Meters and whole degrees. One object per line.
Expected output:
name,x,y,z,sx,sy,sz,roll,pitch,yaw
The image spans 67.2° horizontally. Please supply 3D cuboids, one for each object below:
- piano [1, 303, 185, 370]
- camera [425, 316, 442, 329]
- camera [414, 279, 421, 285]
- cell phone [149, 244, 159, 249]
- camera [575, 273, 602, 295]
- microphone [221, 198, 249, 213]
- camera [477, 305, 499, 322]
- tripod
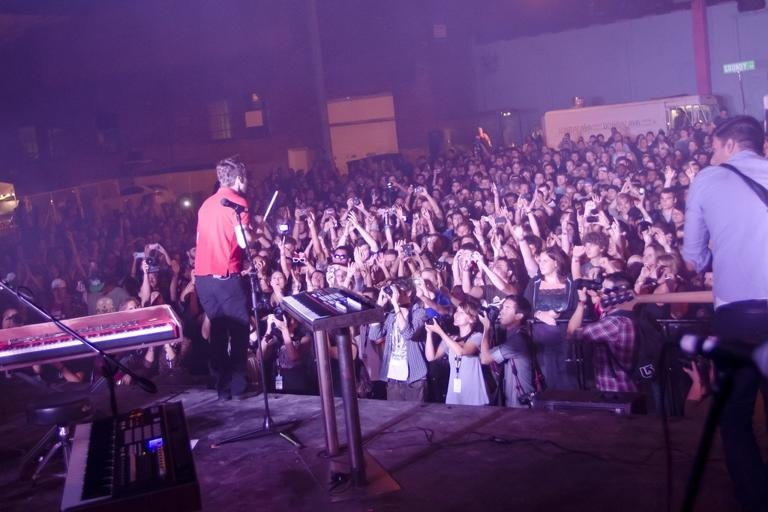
piano,-2.168,0.586,4.258,1.261,0.461,0.494,-6,2,2
camera,0.441,0.592,5.128,0.123,0.057,0.093,-1,8,-38
camera,0.314,0.246,5.521,0.052,0.099,0.058,2,3,30
cell phone,-3.022,-0.124,7.523,0.126,0.042,0.080,-12,5,-34
camera,1.827,0.257,5.093,0.225,0.092,0.146,0,11,-8
microphone,-1.153,-0.384,4.400,0.145,0.040,0.094,20,5,-18
camera,0.924,0.498,5.114,0.133,0.134,0.137,8,9,37
tripod,-0.983,0.962,4.457,0.480,1.551,0.518,-6,2,-19
